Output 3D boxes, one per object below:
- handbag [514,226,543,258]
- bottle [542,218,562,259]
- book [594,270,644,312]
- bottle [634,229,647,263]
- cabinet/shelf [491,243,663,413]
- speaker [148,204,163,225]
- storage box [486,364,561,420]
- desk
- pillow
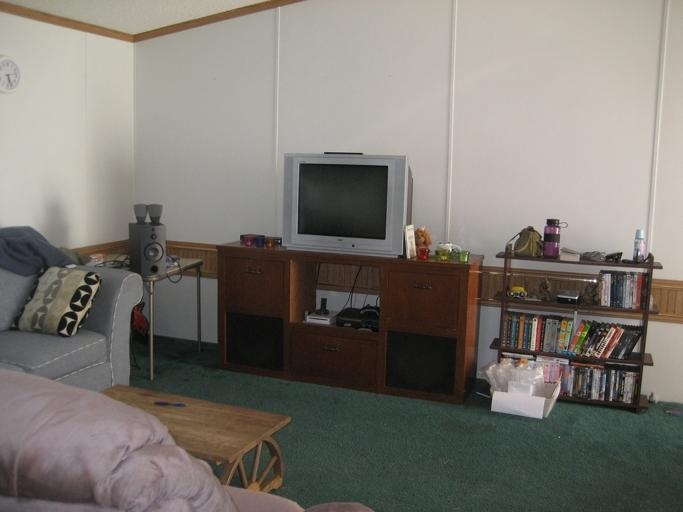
[{"bbox_3d":[1.479,-0.120,4.228,0.218,0.241,0.234,1,5,20],"label":"handbag"},{"bbox_3d":[1.667,-0.142,4.221,0.138,0.291,0.166,2,12,7],"label":"bottle"},{"bbox_3d":[2.107,0.258,4.083,0.336,0.345,0.255,2,2,25],"label":"book"},{"bbox_3d":[2.313,-0.095,4.130,0.099,0.233,0.304,8,14,29],"label":"bottle"},{"bbox_3d":[1.898,0.597,4.209,1.115,1.192,0.336,4,10,17],"label":"cabinet/shelf"},{"bbox_3d":[-1.608,-0.360,4.612,0.109,0.154,0.109,-3,13,-14],"label":"speaker"},{"bbox_3d":[1.407,0.994,4.164,0.354,0.188,0.473,3,3,18],"label":"storage box"},{"bbox_3d":[-1.741,0.379,5.078,1.015,1.031,0.915,9,15,29],"label":"desk"},{"bbox_3d":[-2.016,0.310,3.869,0.466,0.475,0.149,11,-29,17],"label":"pillow"}]
